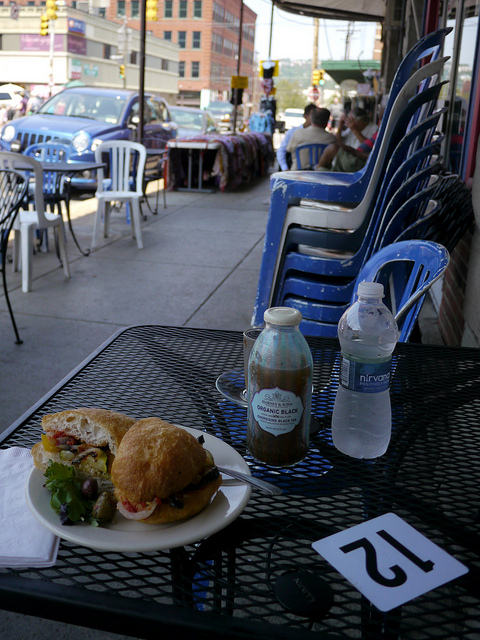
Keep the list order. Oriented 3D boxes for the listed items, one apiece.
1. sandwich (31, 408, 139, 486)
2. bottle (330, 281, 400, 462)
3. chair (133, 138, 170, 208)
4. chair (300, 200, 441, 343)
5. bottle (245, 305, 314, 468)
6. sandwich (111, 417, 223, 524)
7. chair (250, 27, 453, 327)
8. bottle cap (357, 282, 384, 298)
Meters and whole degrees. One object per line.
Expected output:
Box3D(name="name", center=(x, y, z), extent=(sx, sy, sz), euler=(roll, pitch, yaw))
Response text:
Box3D(name="sandwich", center=(-0.208, 0.158, 0.729), extent=(0.128, 0.073, 0.100), euler=(12, 6, 23))
Box3D(name="bottle", center=(0.245, 0.090, 0.956), extent=(0.130, 0.298, 0.134), euler=(2, 18, -1))
Box3D(name="chair", center=(-1.695, -2.622, 9.808), extent=(0.696, 0.795, 0.715), euler=(-21, 31, -29))
Box3D(name="chair", center=(0.582, -0.195, 2.681), extent=(0.684, 0.751, 0.693), euler=(5, 15, 20))
Box3D(name="bottle", center=(0.060, 0.104, 0.836), extent=(0.102, 0.228, 0.098), euler=(2, 11, 0))
Box3D(name="sandwich", center=(-0.092, 0.181, 0.632), extent=(0.122, 0.073, 0.115), euler=(8, 32, 0))
Box3D(name="chair", center=(0.693, -0.774, 3.286), extent=(0.975, 1.402, 0.738), euler=(19, 27, 24))
Box3D(name="bottle cap", center=(0.223, -0.051, 0.920), extent=(0.042, 0.026, 0.046), euler=(-1, 9, 11))
